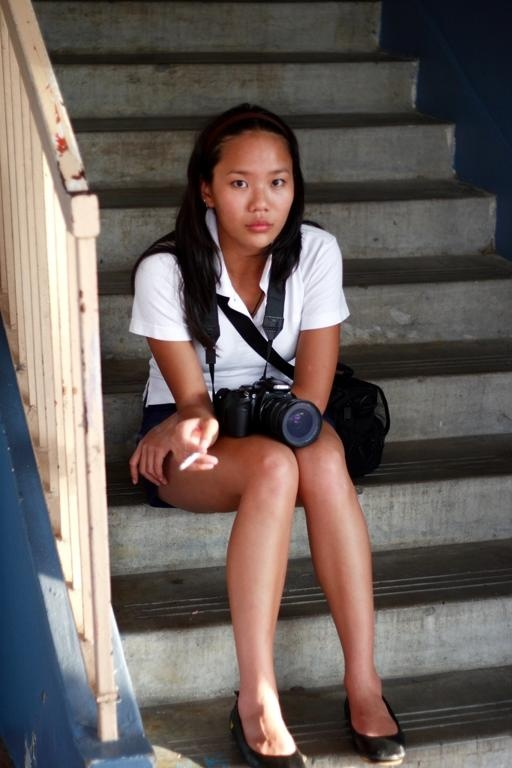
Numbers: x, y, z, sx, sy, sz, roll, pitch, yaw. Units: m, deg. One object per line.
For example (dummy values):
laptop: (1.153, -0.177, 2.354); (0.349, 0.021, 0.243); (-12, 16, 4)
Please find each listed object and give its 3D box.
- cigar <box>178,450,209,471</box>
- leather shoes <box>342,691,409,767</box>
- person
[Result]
cigar: (-0.130, 0.157, 1.834); (0.011, 0.046, 0.044); (58, 4, -1)
leather shoes: (0.235, 0.678, 1.782); (0.079, 0.039, 0.154); (-7, 21, -12)
person: (0.041, 0.072, 1.874); (0.524, 1.125, 0.998); (0, 29, -18)
